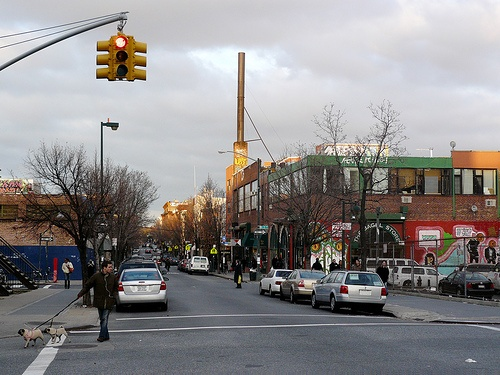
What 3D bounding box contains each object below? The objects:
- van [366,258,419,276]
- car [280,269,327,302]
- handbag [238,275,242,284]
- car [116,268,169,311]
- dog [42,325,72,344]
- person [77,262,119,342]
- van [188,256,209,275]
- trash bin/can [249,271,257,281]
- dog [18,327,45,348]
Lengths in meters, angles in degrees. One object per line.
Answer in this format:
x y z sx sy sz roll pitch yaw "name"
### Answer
8.961 4.800 45.002 2.739 1.488 1.750 -1 -3 -9 "van"
2.679 4.898 34.860 1.792 1.664 4.742 6 -7 -10 "car"
-0.639 5.751 43.901 0.169 0.521 0.563 1 -6 -3 "handbag"
-4.265 3.949 27.846 1.791 1.306 0.844 1 -6 -1 "car"
-5.510 4.230 20.172 0.701 0.436 1.005 2 -7 -8 "dog"
-4.491 3.264 20.759 1.022 2.443 1.038 2 -5 -17 "person"
-5.207 7.953 71.228 1.976 1.769 1.613 1 -6 -3 "van"
0.253 6.957 55.445 0.557 0.881 0.610 -1 1 -3 "trash bin/can"
-6.131 4.229 19.845 0.687 0.514 0.955 2 -7 -11 "dog"
